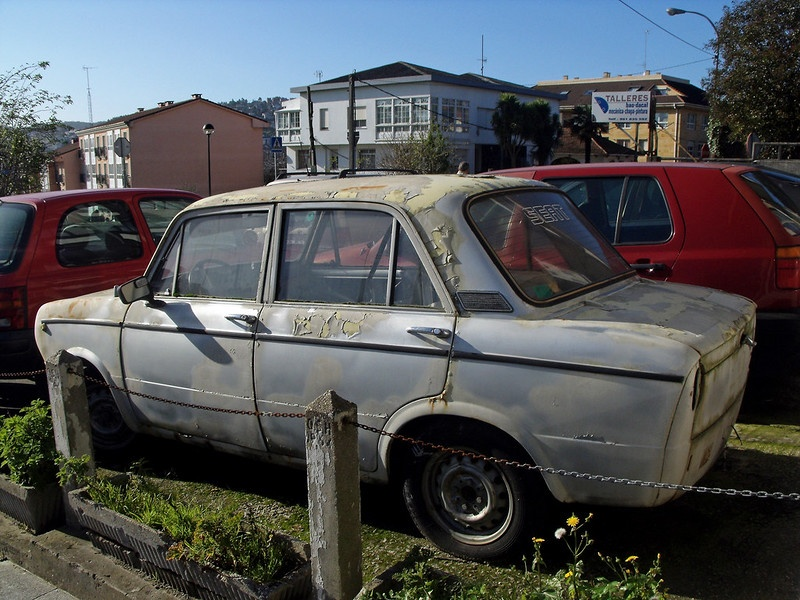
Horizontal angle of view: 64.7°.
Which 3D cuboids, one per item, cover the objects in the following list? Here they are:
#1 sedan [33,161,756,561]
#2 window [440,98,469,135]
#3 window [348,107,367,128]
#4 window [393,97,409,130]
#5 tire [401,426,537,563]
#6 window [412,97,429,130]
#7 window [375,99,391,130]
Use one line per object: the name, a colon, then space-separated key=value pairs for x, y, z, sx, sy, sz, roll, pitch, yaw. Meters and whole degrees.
sedan: x=-0.221 y=0.139 z=4.746 sx=4.598 sy=1.747 sz=2.489 roll=6 pitch=9 yaw=25
window: x=5.325 y=-17.874 z=61.255 sx=0.578 sy=3.081 sz=3.965 roll=8 pitch=14 yaw=40
window: x=-3.871 y=-18.128 z=62.733 sx=1.346 sy=2.217 sz=0.486 roll=4 pitch=12 yaw=25
window: x=0.186 y=-17.722 z=60.383 sx=0.409 sy=2.854 sz=1.679 roll=-11 pitch=15 yaw=-43
tire: x=0.435 y=1.105 z=3.753 sx=0.784 sy=0.779 sz=0.273 roll=-1 pitch=1 yaw=29
window: x=1.936 y=-17.529 z=59.491 sx=1.723 sy=3.003 sz=0.333 roll=4 pitch=12 yaw=22
window: x=-1.583 y=-18.017 z=61.363 sx=1.737 sy=2.800 sz=0.231 roll=7 pitch=13 yaw=33
